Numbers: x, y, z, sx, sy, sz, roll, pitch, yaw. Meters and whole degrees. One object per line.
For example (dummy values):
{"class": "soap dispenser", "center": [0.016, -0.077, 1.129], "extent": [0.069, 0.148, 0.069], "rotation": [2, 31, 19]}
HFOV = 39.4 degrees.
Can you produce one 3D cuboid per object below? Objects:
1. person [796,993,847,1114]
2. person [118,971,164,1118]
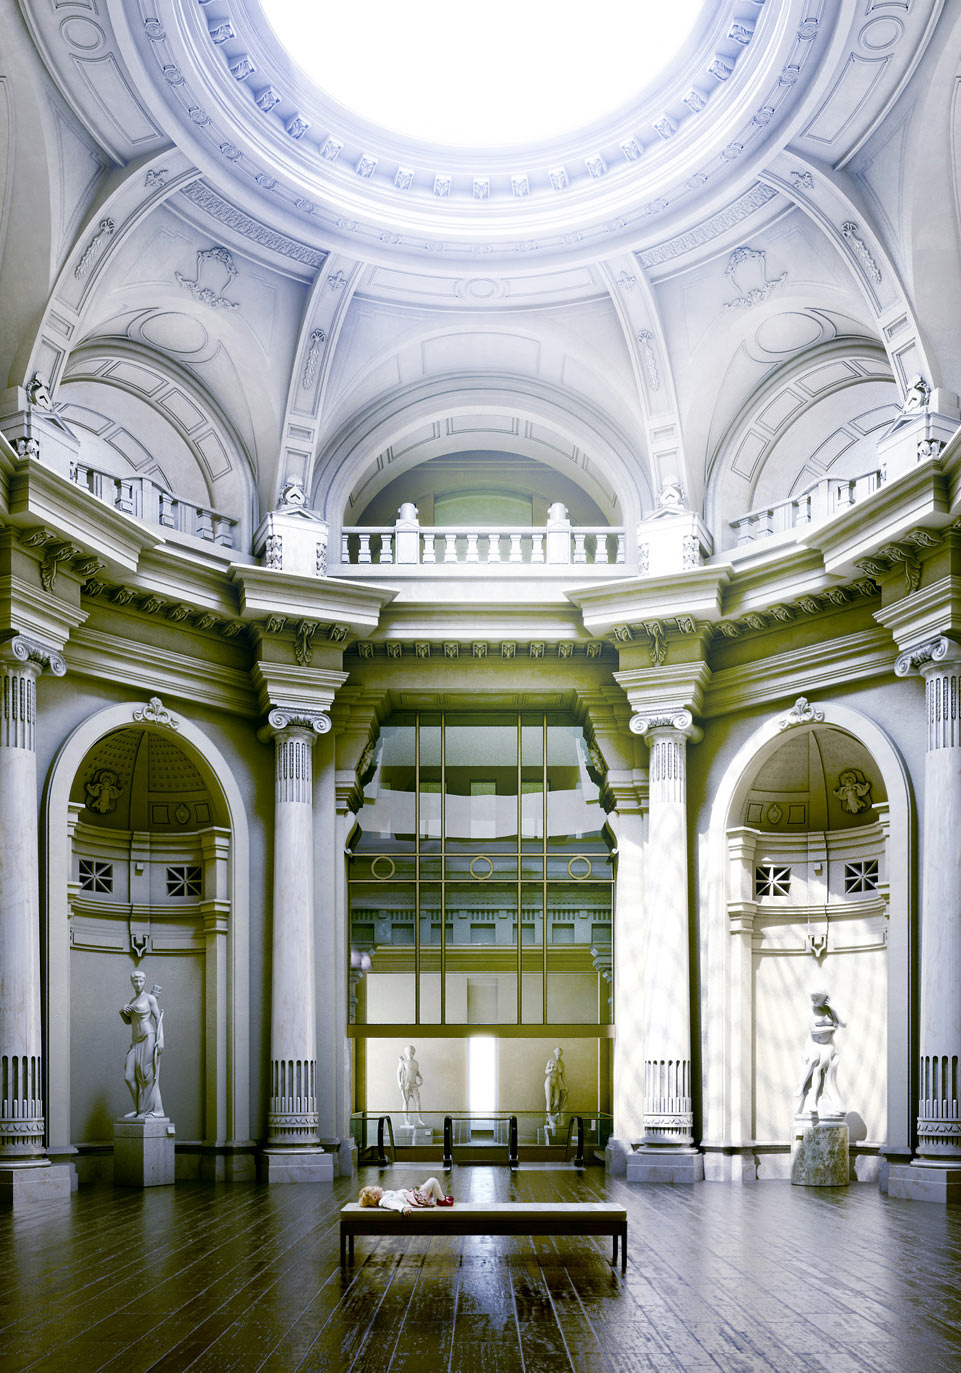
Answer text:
{"class": "person", "center": [3.430, 3.713, 13.557], "extent": [0.480, 1.209, 0.321], "rotation": [-1, -12, 0]}
{"class": "person", "center": [-3.539, 3.715, 13.960], "extent": [0.446, 1.456, 0.727], "rotation": [3, -12, -15]}
